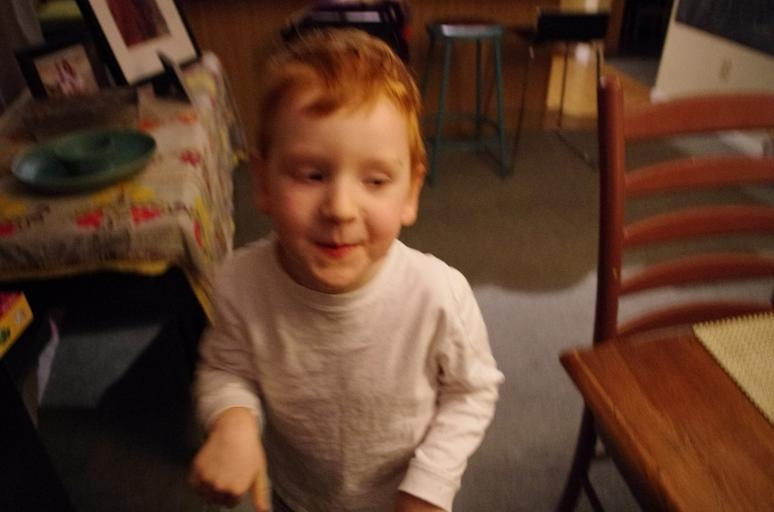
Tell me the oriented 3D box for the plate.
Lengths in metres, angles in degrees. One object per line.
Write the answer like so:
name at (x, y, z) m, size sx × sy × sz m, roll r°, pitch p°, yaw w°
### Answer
plate at (-0.797, -0.264, 1.572) m, size 0.347 × 0.092 × 0.304 m, roll -27°, pitch 38°, yaw -33°
